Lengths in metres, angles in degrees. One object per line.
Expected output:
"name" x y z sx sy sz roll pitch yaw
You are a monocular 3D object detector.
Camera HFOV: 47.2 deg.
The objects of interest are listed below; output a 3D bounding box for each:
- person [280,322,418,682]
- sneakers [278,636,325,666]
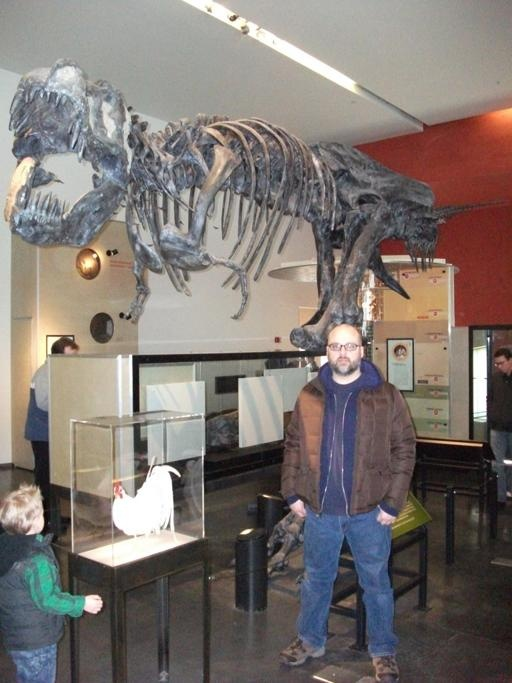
"person" 0.401 0.700 2.658 0.635 1.589 0.398 -3 0 13
"sneakers" 0.201 1.426 2.719 0.227 0.110 0.080 13 -18 -38
